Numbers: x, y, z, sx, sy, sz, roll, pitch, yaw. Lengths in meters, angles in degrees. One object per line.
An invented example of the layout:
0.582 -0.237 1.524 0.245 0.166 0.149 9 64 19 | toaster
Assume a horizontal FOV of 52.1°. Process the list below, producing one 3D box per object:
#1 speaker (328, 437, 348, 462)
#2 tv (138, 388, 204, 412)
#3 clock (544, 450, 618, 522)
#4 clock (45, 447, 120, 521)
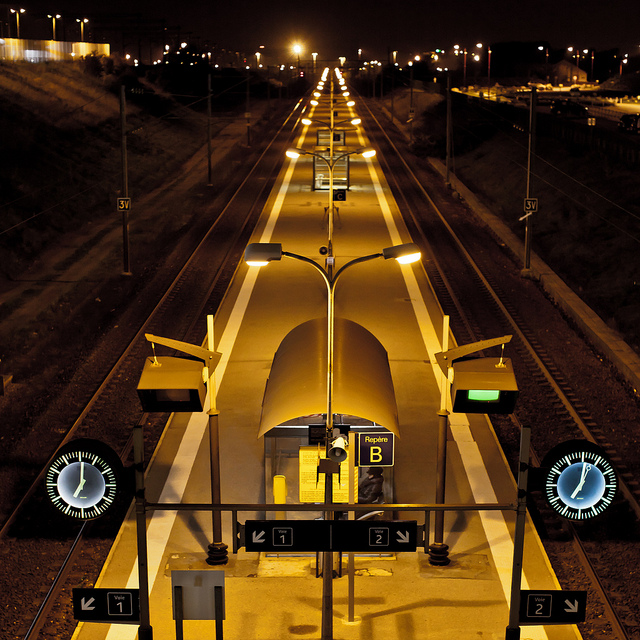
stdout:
0.200 1.488 7.539 0.209 0.269 0.264 1 -8 1 | speaker
-1.840 0.975 8.067 0.819 0.274 0.408 1 -8 0 | tv
2.297 1.462 5.878 0.778 0.651 0.164 5 -4 -15 | clock
-2.118 1.435 5.808 0.768 0.642 0.164 3 9 -5 | clock
